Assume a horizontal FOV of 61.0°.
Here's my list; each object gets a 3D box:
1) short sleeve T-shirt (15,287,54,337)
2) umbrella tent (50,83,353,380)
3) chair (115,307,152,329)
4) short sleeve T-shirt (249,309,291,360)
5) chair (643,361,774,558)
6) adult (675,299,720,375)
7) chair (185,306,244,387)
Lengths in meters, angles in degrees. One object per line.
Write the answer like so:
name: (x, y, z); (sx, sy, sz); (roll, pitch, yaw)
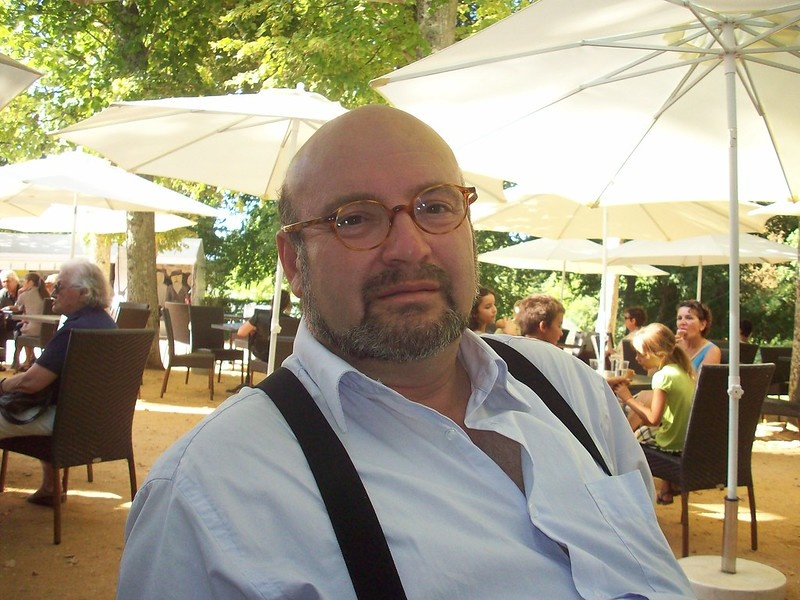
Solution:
short sleeve T-shirt: (-6.765, 0.213, 12.505); (0.484, 0.821, 0.519); (4, 7, 43)
umbrella tent: (-1.635, -0.348, 5.767); (2.490, 1.658, 2.343); (2, -6, -12)
chair: (-3.810, 0.248, 9.724); (0.225, 0.392, 0.234); (4, 35, -36)
short sleeve T-shirt: (-1.745, 0.474, 9.126); (0.755, 0.689, 0.413); (1, 6, -8)
chair: (2.274, 1.222, 5.356); (0.825, 1.407, 1.007); (2, -3, -16)
adult: (3.218, 0.416, 7.368); (0.438, 0.796, 0.597); (2, -2, -20)
chair: (-3.276, 0.772, 11.357); (0.806, 1.183, 0.806); (-3, 14, -5)
